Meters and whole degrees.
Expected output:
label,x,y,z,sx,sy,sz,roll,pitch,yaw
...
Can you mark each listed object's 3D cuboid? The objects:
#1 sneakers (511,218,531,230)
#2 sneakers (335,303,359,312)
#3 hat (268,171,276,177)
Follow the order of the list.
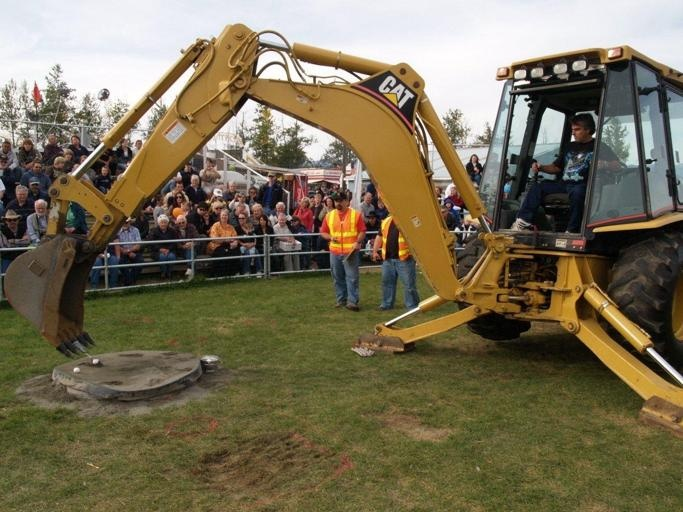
label,x,y,z,sx,sy,sz,roll,pitch,yaw
sneakers,2.610,-0.322,7.717,0.349,0.116,0.101,0,2,-14
sneakers,0.120,0.818,10.786,0.313,0.073,0.175,14,9,15
hat,-1.967,-1.789,15.371,0.172,0.093,0.182,0,2,-6
